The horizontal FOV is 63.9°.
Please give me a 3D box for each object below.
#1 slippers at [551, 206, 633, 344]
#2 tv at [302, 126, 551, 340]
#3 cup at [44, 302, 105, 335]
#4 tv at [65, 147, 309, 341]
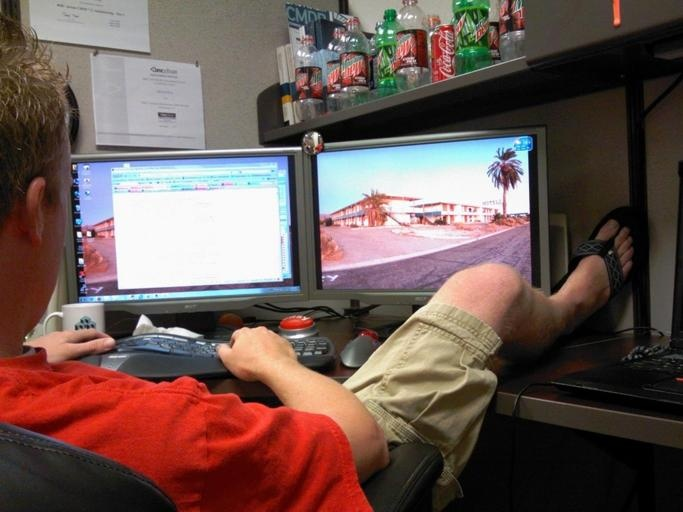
[{"bbox_3d":[0.608,0.049,1.282,0.064,0.349,0.129,-9,42,-44],"label":"slippers"},{"bbox_3d":[0.185,-0.062,1.195,0.565,0.361,0.057,0,3,19],"label":"tv"},{"bbox_3d":[-0.625,0.146,1.275,0.146,0.092,0.084,-2,-6,15],"label":"cup"},{"bbox_3d":[-0.370,-0.041,1.303,0.527,0.346,0.143,-1,-1,-5],"label":"tv"}]
